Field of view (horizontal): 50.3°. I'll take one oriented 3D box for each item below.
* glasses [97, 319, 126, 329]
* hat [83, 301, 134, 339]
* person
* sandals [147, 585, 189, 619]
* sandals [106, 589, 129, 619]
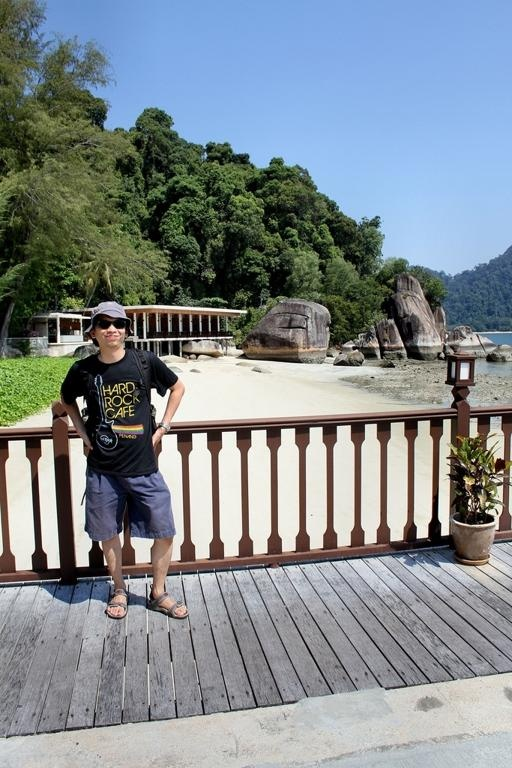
[{"bbox_3d":[-0.677,-0.285,2.545,0.134,0.055,0.048,-2,3,-23],"label":"glasses"},{"bbox_3d":[-0.711,-0.323,2.650,0.164,0.124,0.230,-1,-2,-15],"label":"hat"},{"bbox_3d":[-0.626,0.380,2.672,0.602,1.572,0.522,-1,3,-20],"label":"person"},{"bbox_3d":[-0.447,1.107,2.773,0.203,0.089,0.096,12,14,31],"label":"sandals"},{"bbox_3d":[-0.703,1.106,2.750,0.059,0.053,0.172,1,3,-7],"label":"sandals"}]
